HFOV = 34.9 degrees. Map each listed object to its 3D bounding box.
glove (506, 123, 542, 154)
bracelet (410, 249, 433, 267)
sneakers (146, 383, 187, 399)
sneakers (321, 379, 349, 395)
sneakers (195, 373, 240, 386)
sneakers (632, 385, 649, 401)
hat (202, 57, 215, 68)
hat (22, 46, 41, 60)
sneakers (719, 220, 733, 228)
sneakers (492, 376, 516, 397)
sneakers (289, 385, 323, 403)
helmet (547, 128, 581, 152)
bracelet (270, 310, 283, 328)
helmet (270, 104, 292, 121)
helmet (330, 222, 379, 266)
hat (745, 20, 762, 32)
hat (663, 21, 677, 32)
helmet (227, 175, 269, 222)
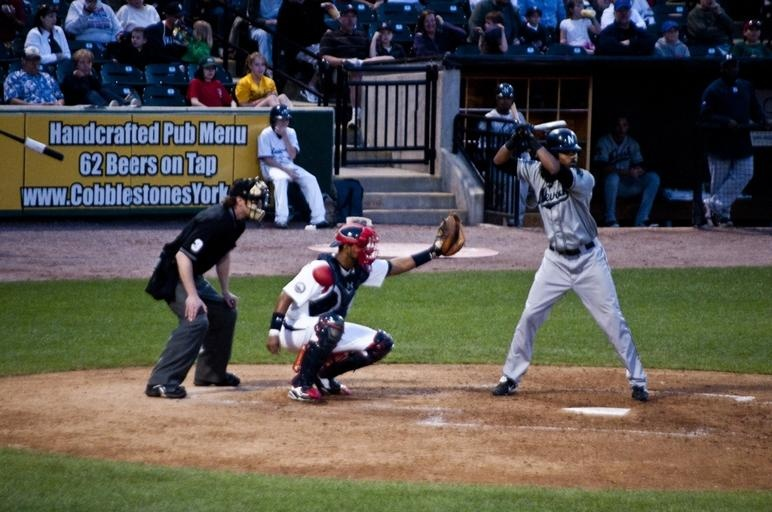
[{"bbox_3d":[1.713,-1.444,15.449,0.430,0.201,0.557,6,17,1],"label":"glove"},{"bbox_3d":[0.461,0.036,15.287,0.284,0.158,0.119,-23,3,8],"label":"bracelet"},{"bbox_3d":[-2.712,1.674,15.137,0.481,0.220,0.182,0,9,-8],"label":"sneakers"},{"bbox_3d":[-0.662,1.647,15.550,0.412,0.181,0.140,5,10,-9],"label":"sneakers"},{"bbox_3d":[-2.158,1.574,15.748,0.541,0.216,0.201,-2,4,-10],"label":"sneakers"},{"bbox_3d":[3.196,1.725,15.377,0.129,0.161,0.244,1,7,12],"label":"sneakers"},{"bbox_3d":[-3.320,-3.575,22.962,0.251,0.202,0.198,-3,8,-28],"label":"hat"},{"bbox_3d":[-6.313,-3.545,21.850,0.274,0.250,0.225,-1,7,-18],"label":"hat"},{"bbox_3d":[6.630,-0.607,23.843,0.256,0.124,0.428,2,7,13],"label":"sneakers"},{"bbox_3d":[1.499,1.652,15.489,0.425,0.181,0.150,1,1,-34],"label":"sneakers"},{"bbox_3d":[-1.008,1.713,15.236,0.351,0.157,0.190,0,0,23],"label":"sneakers"},{"bbox_3d":[2.208,-1.413,15.295,0.370,0.271,0.292,30,24,30],"label":"helmet"},{"bbox_3d":[-1.322,0.792,15.044,0.193,0.230,0.176,-1,7,-13],"label":"bracelet"},{"bbox_3d":[-1.939,-2.550,22.252,0.327,0.247,0.255,-14,1,29],"label":"helmet"},{"bbox_3d":[-0.391,-0.140,15.056,0.526,0.483,0.442,-5,5,-7],"label":"helmet"},{"bbox_3d":[7.551,-4.653,25.279,0.355,0.158,0.502,0,7,5],"label":"hat"},{"bbox_3d":[5.818,-4.635,25.105,0.311,0.210,0.276,3,7,21],"label":"hat"},{"bbox_3d":[-1.700,-0.730,15.232,0.562,0.526,0.416,-12,18,-13],"label":"helmet"}]
